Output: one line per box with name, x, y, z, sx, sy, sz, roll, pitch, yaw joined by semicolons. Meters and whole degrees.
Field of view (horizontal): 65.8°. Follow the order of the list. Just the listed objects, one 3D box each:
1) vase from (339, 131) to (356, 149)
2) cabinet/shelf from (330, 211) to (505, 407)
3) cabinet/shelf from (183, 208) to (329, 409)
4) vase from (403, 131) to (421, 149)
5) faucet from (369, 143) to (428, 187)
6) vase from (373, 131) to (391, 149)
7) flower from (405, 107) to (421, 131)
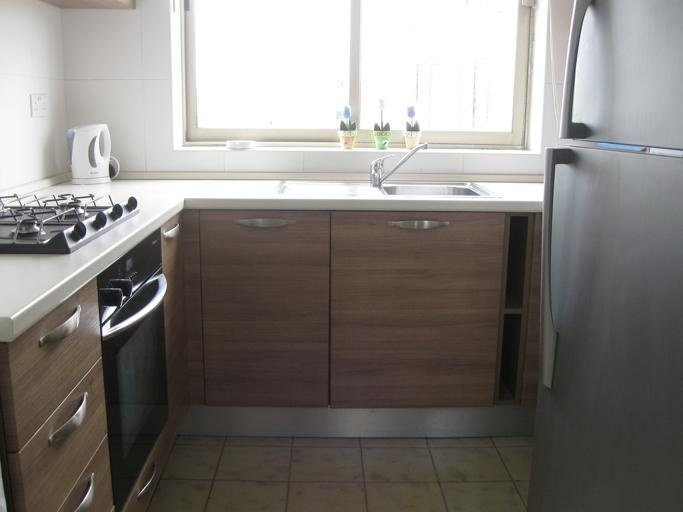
vase;0.031;-0.621;2.822;0.087;0.094;0.070;-2;16;2
cabinet/shelf;0.304;0.139;2.576;0.783;1.028;0.729;0;15;2
cabinet/shelf;-0.352;0.176;2.492;0.697;1.111;0.673;0;13;0
vase;0.378;-0.627;2.876;0.088;0.111;0.085;2;25;6
faucet;0.271;-0.454;2.617;0.265;0.195;0.351;-2;17;3
vase;0.216;-0.624;2.818;0.087;0.102;0.085;-16;25;-42
flower;0.378;-0.741;2.841;0.074;0.129;0.104;-3;17;-2
